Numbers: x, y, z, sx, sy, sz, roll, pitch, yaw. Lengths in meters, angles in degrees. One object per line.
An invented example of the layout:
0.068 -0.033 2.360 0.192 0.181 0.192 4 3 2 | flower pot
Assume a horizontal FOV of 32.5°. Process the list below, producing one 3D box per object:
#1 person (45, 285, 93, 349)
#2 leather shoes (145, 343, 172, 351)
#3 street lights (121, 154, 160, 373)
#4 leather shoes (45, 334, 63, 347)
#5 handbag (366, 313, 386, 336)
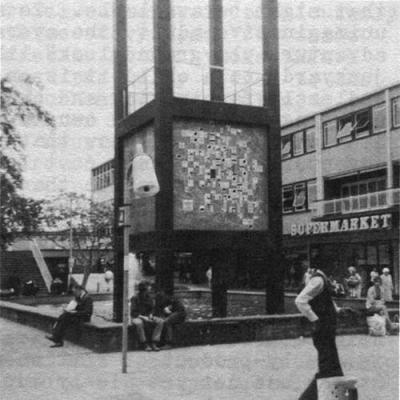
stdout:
-1.639 1.444 8.584 0.580 0.762 0.228 2 -9 -16 | person
-0.539 1.907 8.863 0.326 0.141 0.116 0 -4 -9 | leather shoes
-0.802 0.736 8.842 0.500 2.905 0.392 1 -8 -8 | street lights
-1.818 1.736 8.463 0.234 0.147 0.060 -2 -9 10 | leather shoes
2.559 1.821 10.028 0.238 0.340 0.098 -2 -2 -13 | handbag
